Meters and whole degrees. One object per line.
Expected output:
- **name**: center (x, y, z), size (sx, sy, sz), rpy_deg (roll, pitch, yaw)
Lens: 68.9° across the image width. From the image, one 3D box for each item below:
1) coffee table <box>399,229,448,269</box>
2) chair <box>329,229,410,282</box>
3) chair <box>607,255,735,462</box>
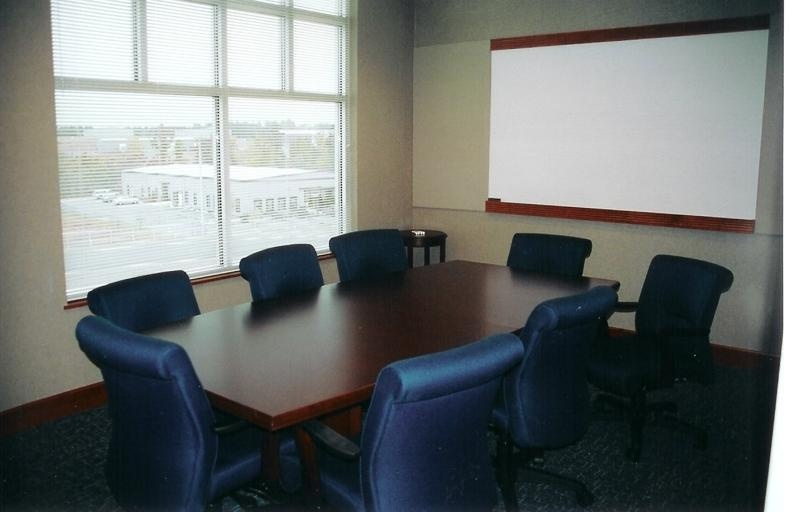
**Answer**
- **coffee table**: center (0.266, -0.097, 5.390), size (0.377, 0.426, 0.392), rpy_deg (6, 9, 43)
- **chair**: center (-0.193, -0.014, 4.005), size (0.462, 0.554, 0.393), rpy_deg (-9, 12, -33)
- **chair**: center (1.276, 0.492, 2.904), size (0.650, 0.896, 0.637), rpy_deg (-1, 13, 11)
